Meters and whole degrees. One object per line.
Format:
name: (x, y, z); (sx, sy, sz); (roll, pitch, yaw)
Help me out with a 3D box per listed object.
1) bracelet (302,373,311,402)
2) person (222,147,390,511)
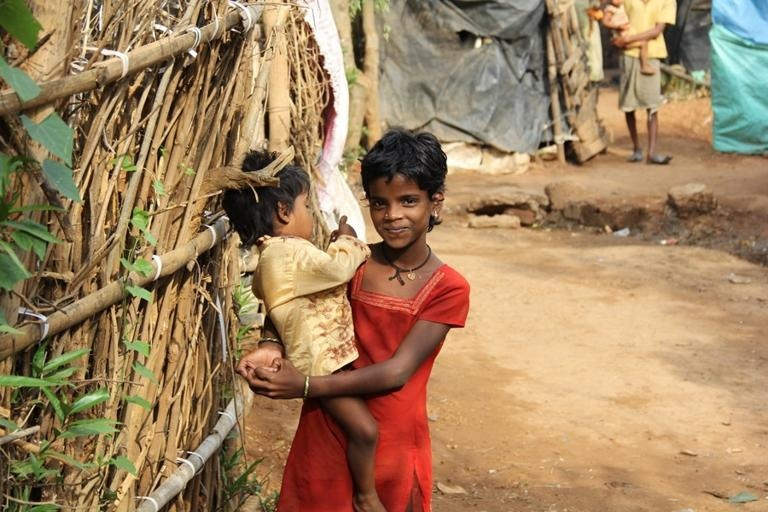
bracelet: (-0.284, 0.477, 2.753); (0.023, 0.059, 0.051); (3, -9, -12)
person: (-0.281, 0.271, 2.996); (0.374, 1.332, 0.786); (-11, 15, -37)
